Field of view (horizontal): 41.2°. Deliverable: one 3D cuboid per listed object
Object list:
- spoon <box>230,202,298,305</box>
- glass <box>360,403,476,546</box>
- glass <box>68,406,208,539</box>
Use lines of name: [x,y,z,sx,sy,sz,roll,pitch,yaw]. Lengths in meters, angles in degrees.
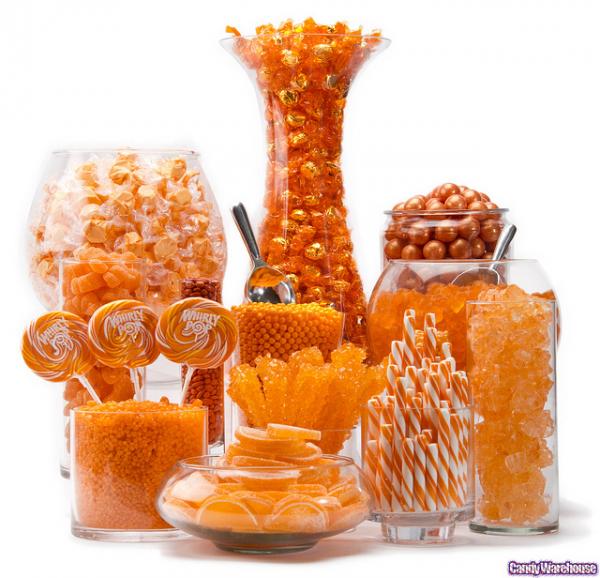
spoon: [-0.139,-0.091,2.358,0.145,0.339,0.062,-25,-11,-14]
glass: [0.233,0.423,1.862,0.389,0.314,0.332,0,-6,-2]
glass: [-0.300,0.437,1.942,0.391,0.275,0.324,-5,-12,3]
